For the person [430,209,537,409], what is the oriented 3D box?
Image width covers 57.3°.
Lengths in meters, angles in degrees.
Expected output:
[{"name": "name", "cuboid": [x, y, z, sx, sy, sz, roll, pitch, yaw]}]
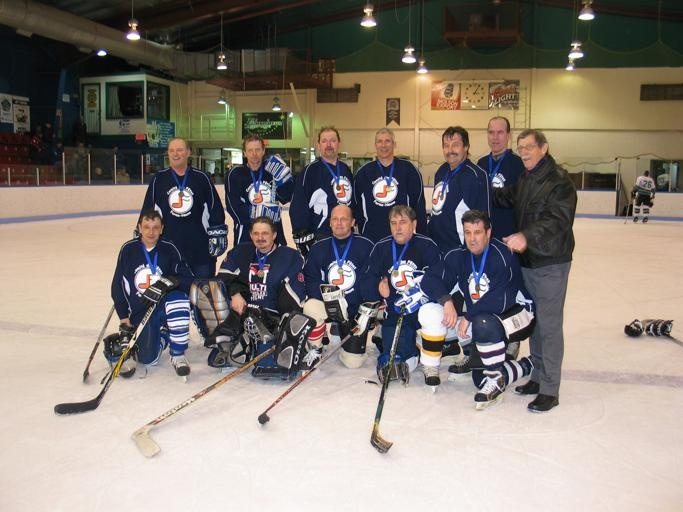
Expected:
[{"name": "person", "cuboid": [1.132, 0.412, 5.174, 0.905, 1.474, 0.974, -3, 6, 8]}]

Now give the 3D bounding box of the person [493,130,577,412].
[{"name": "person", "cuboid": [1.576, 0.091, 4.926, 0.476, 2.151, 0.650, 2, 8, 20]}]

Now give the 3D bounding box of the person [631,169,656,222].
[{"name": "person", "cuboid": [8.513, -1.643, 17.555, 0.520, 1.414, 0.735, 3, 9, 25]}]

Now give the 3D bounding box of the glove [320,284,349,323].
[{"name": "glove", "cuboid": [-0.072, 0.435, 5.529, 0.146, 0.283, 0.186, -17, 41, -2]}]

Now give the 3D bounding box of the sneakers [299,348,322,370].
[{"name": "sneakers", "cuboid": [-0.271, 0.902, 5.436, 0.125, 0.186, 0.050, 21, -20, 47]}]

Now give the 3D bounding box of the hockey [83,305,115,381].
[{"name": "hockey", "cuboid": [-2.242, 0.823, 5.763, 0.100, 0.116, 0.763, 10, 43, 6]}]

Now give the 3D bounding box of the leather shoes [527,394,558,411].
[{"name": "leather shoes", "cuboid": [1.566, 1.135, 4.846, 0.259, 0.114, 0.099, -1, -2, -41]}]

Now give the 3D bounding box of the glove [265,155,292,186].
[{"name": "glove", "cuboid": [-0.638, -0.959, 6.750, 0.306, 0.238, 0.120, 29, 35, 12]}]

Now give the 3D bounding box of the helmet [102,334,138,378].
[{"name": "helmet", "cuboid": [-1.877, 0.807, 5.303, 0.267, 0.396, 0.163, -7, 1, -4]}]

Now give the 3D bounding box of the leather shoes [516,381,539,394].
[{"name": "leather shoes", "cuboid": [1.524, 1.076, 5.098, 0.195, 0.087, 0.082, 5, -3, -14]}]

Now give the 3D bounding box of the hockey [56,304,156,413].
[{"name": "hockey", "cuboid": [-1.757, 0.775, 5.123, 0.206, 0.226, 1.540, 29, 39, -3]}]

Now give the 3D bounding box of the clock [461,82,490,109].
[{"name": "clock", "cuboid": [5.406, -6.472, 24.991, 1.002, 1.051, 0.344, 2, 1, 9]}]

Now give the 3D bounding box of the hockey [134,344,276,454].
[{"name": "hockey", "cuboid": [-1.039, 1.048, 4.305, 0.044, 0.389, 1.548, -42, -12, 36]}]

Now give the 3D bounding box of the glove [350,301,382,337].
[{"name": "glove", "cuboid": [0.206, 0.542, 5.543, 0.138, 0.403, 0.164, 16, -15, 46]}]

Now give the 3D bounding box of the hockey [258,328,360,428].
[{"name": "hockey", "cuboid": [-0.170, 0.855, 5.108, 0.086, 0.244, 1.609, 2, 28, 41]}]

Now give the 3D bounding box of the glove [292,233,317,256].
[{"name": "glove", "cuboid": [-0.369, -0.115, 6.374, 0.173, 0.216, 0.221, -4, -6, -3]}]
